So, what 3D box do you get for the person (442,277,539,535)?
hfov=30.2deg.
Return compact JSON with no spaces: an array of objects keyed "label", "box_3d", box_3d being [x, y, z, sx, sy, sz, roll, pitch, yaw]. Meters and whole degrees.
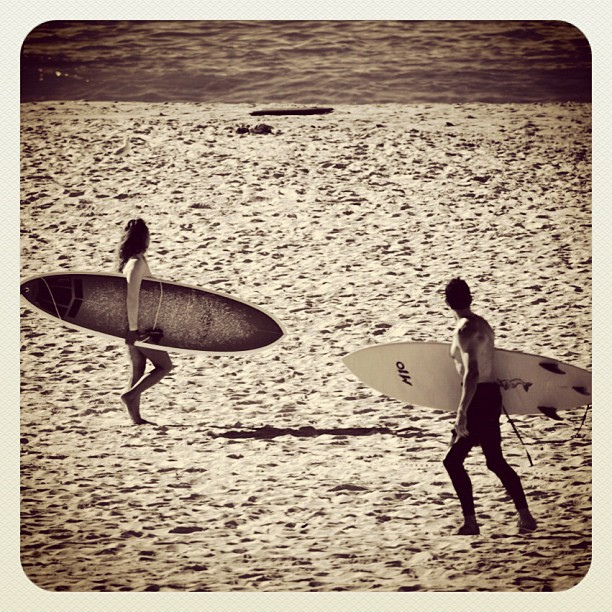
[{"label":"person","box_3d":[1.225,0.698,7.699,0.602,1.777,0.332,-3,7,7]}]
